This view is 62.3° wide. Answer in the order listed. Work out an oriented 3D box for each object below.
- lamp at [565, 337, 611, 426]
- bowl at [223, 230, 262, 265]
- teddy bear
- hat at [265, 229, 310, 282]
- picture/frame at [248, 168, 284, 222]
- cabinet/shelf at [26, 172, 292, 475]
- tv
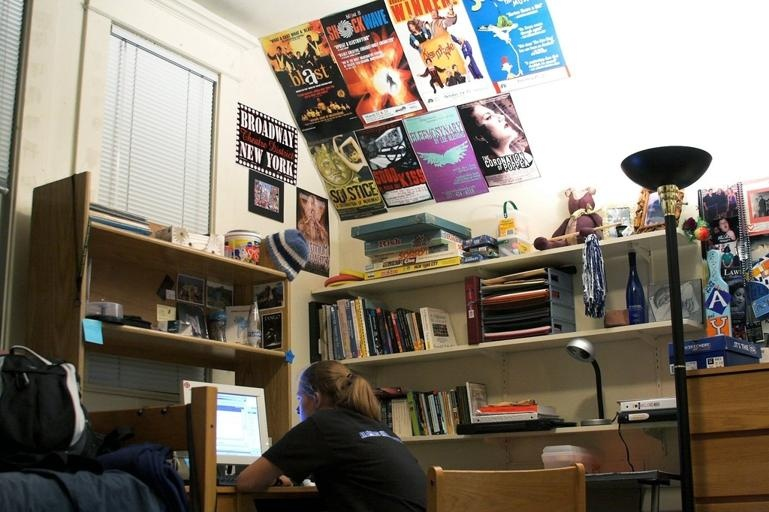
[{"bbox_3d":[1.239,0.759,3.851,0.170,0.504,0.437,-9,-17,17],"label":"lamp"},{"bbox_3d":[-0.852,-0.049,3.884,0.213,0.179,0.205,0,-8,0],"label":"bowl"},{"bbox_3d":[1.221,-0.245,4.085,0.404,0.452,0.377,-5,-17,35],"label":"teddy bear"},{"bbox_3d":[-0.577,-0.025,3.944,0.183,0.312,0.244,-32,-12,18],"label":"hat"},{"bbox_3d":[-0.833,-0.411,4.409,0.020,0.290,0.379,-13,-19,32],"label":"picture/frame"},{"bbox_3d":[-1.186,0.378,3.298,0.433,1.276,1.466,-18,-23,33],"label":"cabinet/shelf"},{"bbox_3d":[-0.779,0.840,3.081,0.233,0.400,0.496,-27,-29,30],"label":"tv"}]
